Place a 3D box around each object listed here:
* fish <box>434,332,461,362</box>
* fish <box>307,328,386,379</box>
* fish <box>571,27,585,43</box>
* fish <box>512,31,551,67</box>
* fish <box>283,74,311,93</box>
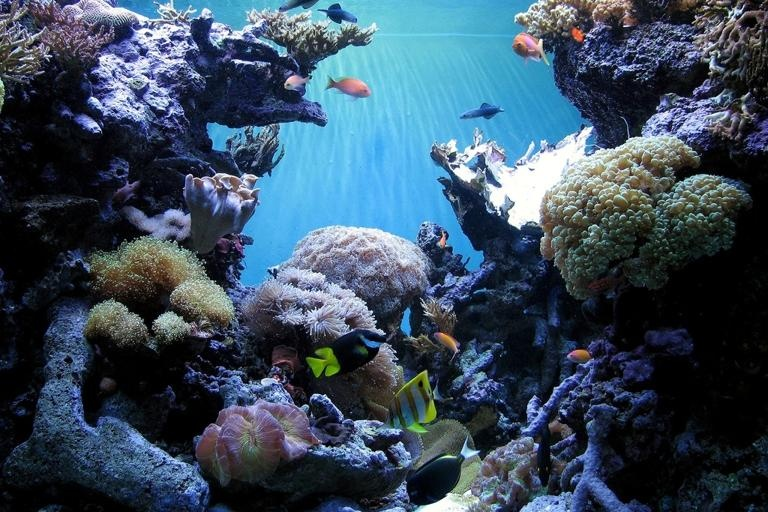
[{"bbox_3d":[0.903,1.319,9.591,0.239,0.510,0.123,-5,48,46],"label":"fish"},{"bbox_3d":[-0.378,0.952,6.630,0.743,0.504,0.194,-2,31,-20],"label":"fish"},{"bbox_3d":[2.629,-2.988,9.007,0.087,0.171,0.260,-8,35,-28],"label":"fish"},{"bbox_3d":[1.970,-2.801,8.995,0.433,0.359,0.548,12,30,2],"label":"fish"},{"bbox_3d":[-1.232,-2.486,9.580,0.463,0.288,0.233,-15,38,-36],"label":"fish"}]
